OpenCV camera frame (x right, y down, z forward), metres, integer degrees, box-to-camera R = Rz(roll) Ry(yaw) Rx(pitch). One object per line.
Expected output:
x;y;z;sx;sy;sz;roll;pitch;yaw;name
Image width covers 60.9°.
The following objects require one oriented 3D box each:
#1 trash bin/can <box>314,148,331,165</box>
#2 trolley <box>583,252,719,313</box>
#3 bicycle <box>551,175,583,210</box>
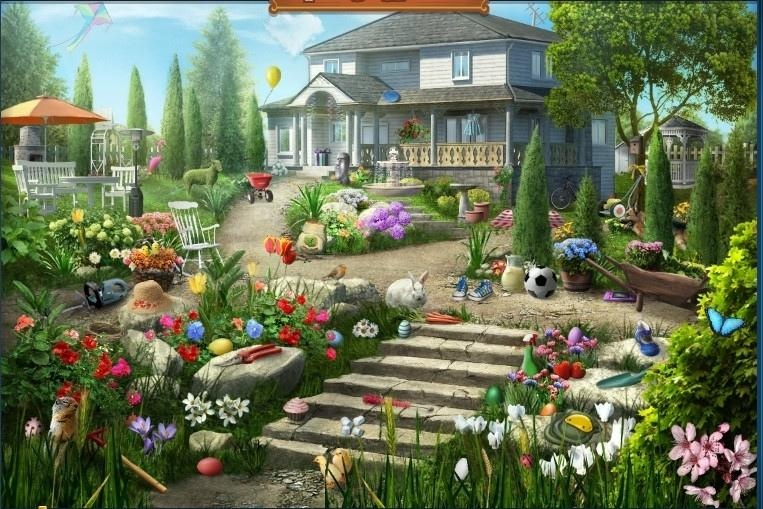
-2.003;-3.332;22.204;0.531;0.672;0.543;0;1;-4;trash bin/can
4.679;0.511;11.291;1.842;0.639;0.866;12;1;33;trolley
5.546;-1.862;19.680;0.763;1.032;2.270;1;5;20;bicycle
